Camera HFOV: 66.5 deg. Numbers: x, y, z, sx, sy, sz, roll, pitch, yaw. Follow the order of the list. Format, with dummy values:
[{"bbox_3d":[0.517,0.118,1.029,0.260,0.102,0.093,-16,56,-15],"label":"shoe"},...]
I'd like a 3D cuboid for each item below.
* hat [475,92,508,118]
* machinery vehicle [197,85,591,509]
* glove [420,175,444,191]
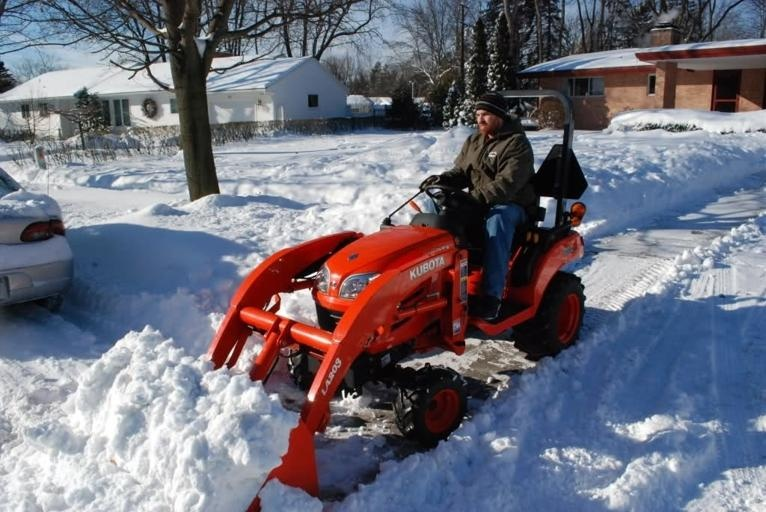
[{"bbox_3d":[1.043,-1.437,5.626,0.266,0.167,0.267,4,25,-32],"label":"hat"},{"bbox_3d":[0.002,-0.098,5.615,2.029,2.731,4.624,18,28,42],"label":"machinery vehicle"},{"bbox_3d":[0.447,-0.713,5.444,0.145,0.073,0.208,-24,13,1],"label":"glove"}]
